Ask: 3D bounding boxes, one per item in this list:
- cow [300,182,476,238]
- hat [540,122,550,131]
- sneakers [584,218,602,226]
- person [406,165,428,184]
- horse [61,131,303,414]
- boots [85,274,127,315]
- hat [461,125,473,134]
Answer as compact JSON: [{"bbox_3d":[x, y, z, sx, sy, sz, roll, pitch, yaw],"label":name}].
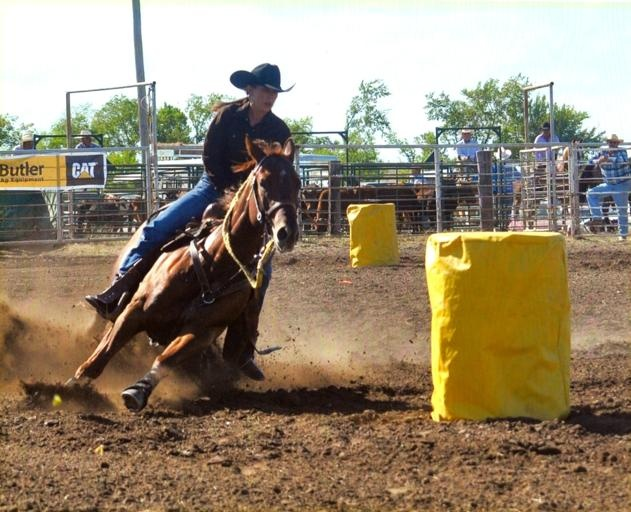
[{"bbox_3d":[1.641,-1.090,17.873,3.675,1.240,2.492,-1,9,2],"label":"cow"},{"bbox_3d":[5.264,-2.955,18.555,0.164,0.189,0.302,0,2,13],"label":"hat"},{"bbox_3d":[5.988,-0.732,17.511,0.378,0.105,0.235,0,2,22],"label":"sneakers"},{"bbox_3d":[2.252,-1.776,17.899,0.536,0.241,0.857,0,-1,0],"label":"person"},{"bbox_3d":[-0.930,0.108,6.448,1.634,2.018,1.265,-1,8,-1],"label":"horse"},{"bbox_3d":[-1.803,0.283,7.052,0.184,0.257,0.573,29,26,-21],"label":"boots"},{"bbox_3d":[3.427,-2.839,18.384,0.214,0.106,0.261,0,-9,-3],"label":"hat"}]
